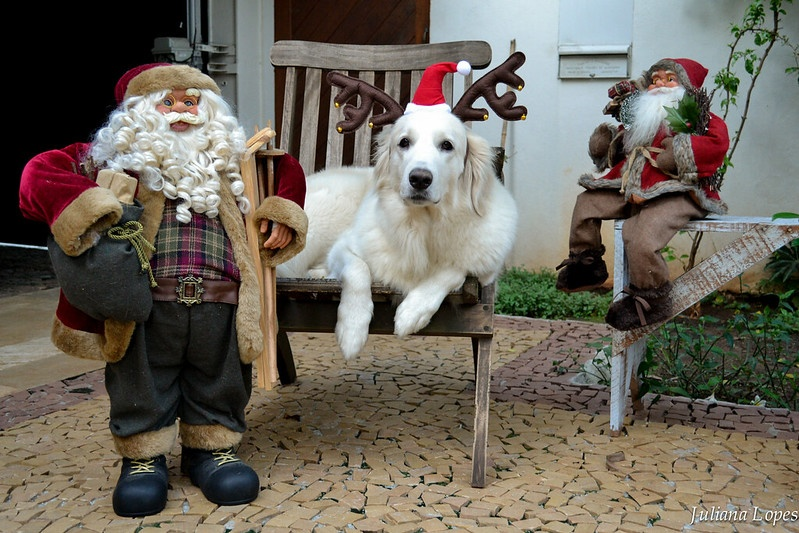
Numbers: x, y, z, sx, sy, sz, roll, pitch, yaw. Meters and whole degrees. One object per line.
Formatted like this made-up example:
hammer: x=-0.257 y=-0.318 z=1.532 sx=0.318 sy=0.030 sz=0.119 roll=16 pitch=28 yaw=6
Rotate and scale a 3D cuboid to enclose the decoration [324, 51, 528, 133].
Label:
decoration: x=0.168 y=-1.075 z=4.729 sx=1.477 sy=0.382 sz=0.167 roll=4 pitch=19 yaw=34
